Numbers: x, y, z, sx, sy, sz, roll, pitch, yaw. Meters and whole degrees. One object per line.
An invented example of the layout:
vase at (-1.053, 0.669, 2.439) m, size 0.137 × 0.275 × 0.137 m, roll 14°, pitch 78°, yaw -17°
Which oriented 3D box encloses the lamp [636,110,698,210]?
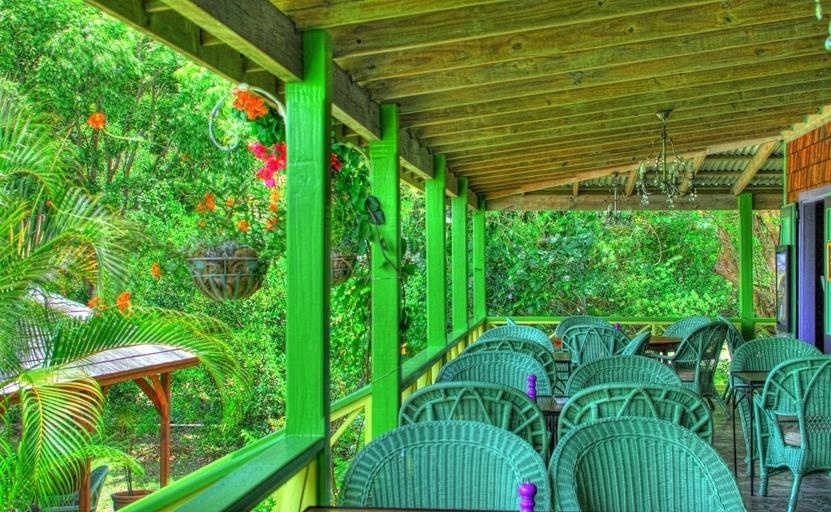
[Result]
lamp at (3.449, -1.345, 10.694) m, size 0.823 × 1.272 × 0.767 m, roll 1°, pitch 10°, yaw 13°

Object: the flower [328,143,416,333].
flower at (-0.520, 0.050, 8.810) m, size 0.868 × 1.865 × 2.712 m, roll 3°, pitch -17°, yaw -4°
